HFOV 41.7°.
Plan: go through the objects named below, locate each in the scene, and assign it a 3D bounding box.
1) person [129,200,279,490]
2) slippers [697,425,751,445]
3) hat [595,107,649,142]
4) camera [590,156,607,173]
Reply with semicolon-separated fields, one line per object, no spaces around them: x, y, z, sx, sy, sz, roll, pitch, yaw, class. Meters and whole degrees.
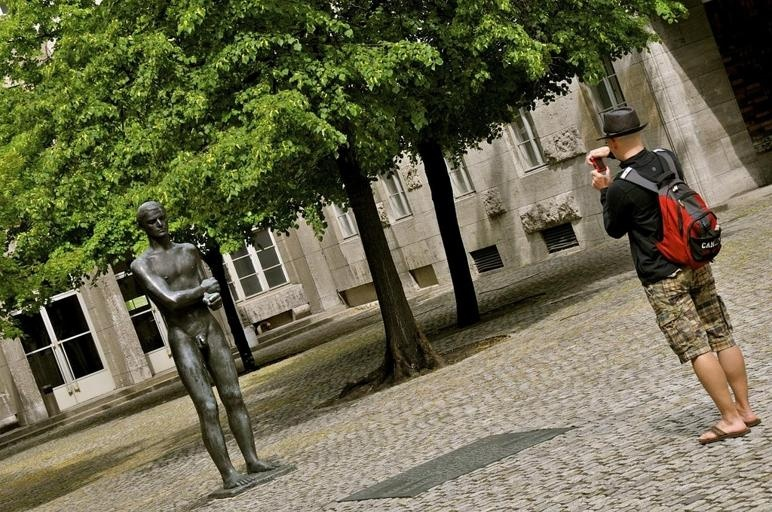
-2.369;1.075;12.773;0.744;3.855;0.842;-18;1;35;person
3.211;1.685;9.587;0.459;0.124;0.176;-6;-6;4;slippers
2.249;-1.266;9.850;0.466;0.190;0.532;-16;8;-34;hat
2.077;-0.875;9.970;0.164;0.156;0.052;-24;-8;-34;camera
